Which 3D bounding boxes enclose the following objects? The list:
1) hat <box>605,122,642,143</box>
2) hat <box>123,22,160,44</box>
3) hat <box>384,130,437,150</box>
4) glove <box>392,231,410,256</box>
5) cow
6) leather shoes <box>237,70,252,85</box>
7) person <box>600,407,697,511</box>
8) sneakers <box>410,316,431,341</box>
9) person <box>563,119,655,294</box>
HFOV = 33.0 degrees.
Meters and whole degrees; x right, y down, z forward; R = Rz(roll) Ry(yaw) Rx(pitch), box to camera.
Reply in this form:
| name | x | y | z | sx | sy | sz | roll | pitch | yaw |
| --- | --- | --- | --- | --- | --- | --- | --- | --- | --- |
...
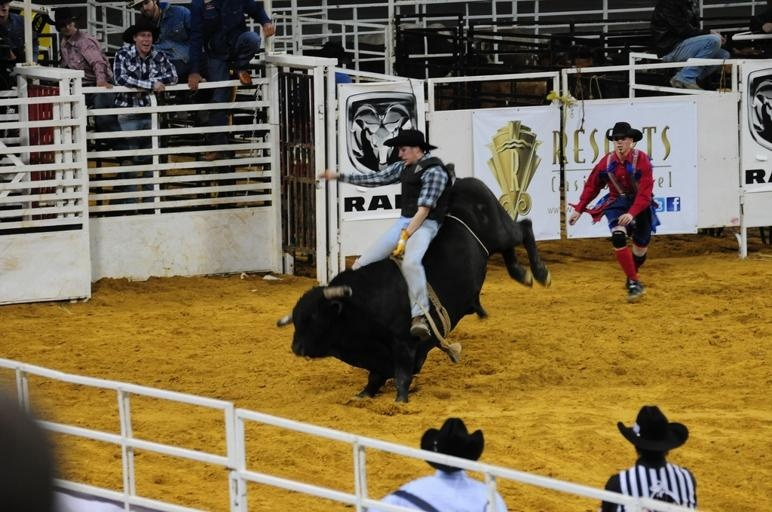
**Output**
| name | x | y | z | sx | sy | sz | roll | pitch | yaw |
| --- | --- | --- | --- | --- | --- | --- | --- | --- | --- |
| hat | 3.607 | -1.838 | 19.401 | 0.449 | 0.207 | 0.538 | -4 | -2 | 18 |
| hat | -3.769 | -3.558 | 20.544 | 0.414 | 0.135 | 0.361 | -1 | -8 | -37 |
| hat | 0.287 | -1.481 | 16.553 | 0.445 | 0.144 | 0.365 | 5 | -1 | -5 |
| glove | 0.211 | -0.151 | 16.405 | 0.188 | 0.325 | 0.094 | 15 | -4 | -7 |
| cow | 0.312 | 0.397 | 16.690 | 3.440 | 2.715 | 0.937 | -6 | 8 | -38 |
| leather shoes | -2.212 | -2.828 | 20.439 | 0.196 | 0.215 | 0.199 | 0 | 6 | 6 |
| person | 2.820 | 2.222 | 13.916 | 1.076 | 1.467 | 0.928 | 0 | 15 | 4 |
| sneakers | 0.436 | 0.894 | 16.129 | 0.178 | 0.230 | 0.353 | -3 | -4 | 21 |
| person | 3.498 | -0.685 | 19.442 | 1.062 | 2.614 | 0.970 | 1 | 6 | 18 |
